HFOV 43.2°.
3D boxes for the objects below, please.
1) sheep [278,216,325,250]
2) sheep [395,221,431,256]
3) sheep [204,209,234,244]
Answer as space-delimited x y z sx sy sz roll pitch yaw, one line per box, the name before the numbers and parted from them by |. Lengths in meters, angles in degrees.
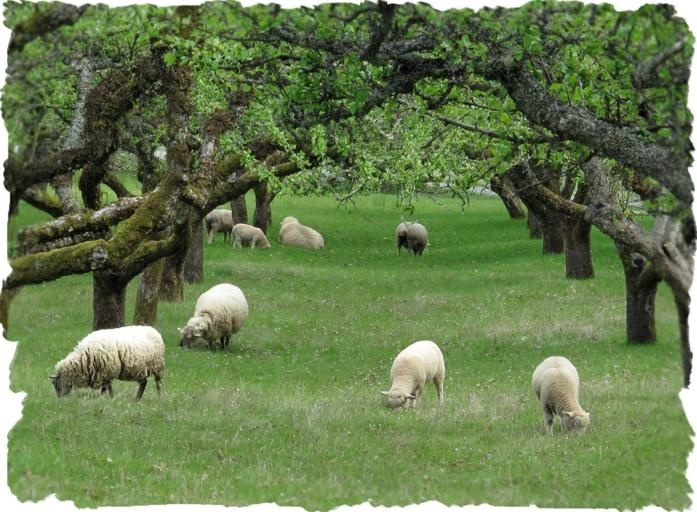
sheep | -2.353 -1.167 43.447 1.173 1.581 2.411 -7 24 -24
sheep | 2.964 -0.871 41.657 1.303 1.814 2.095 2 10 9
sheep | -6.118 -1.583 43.494 0.690 1.774 2.511 3 4 31
